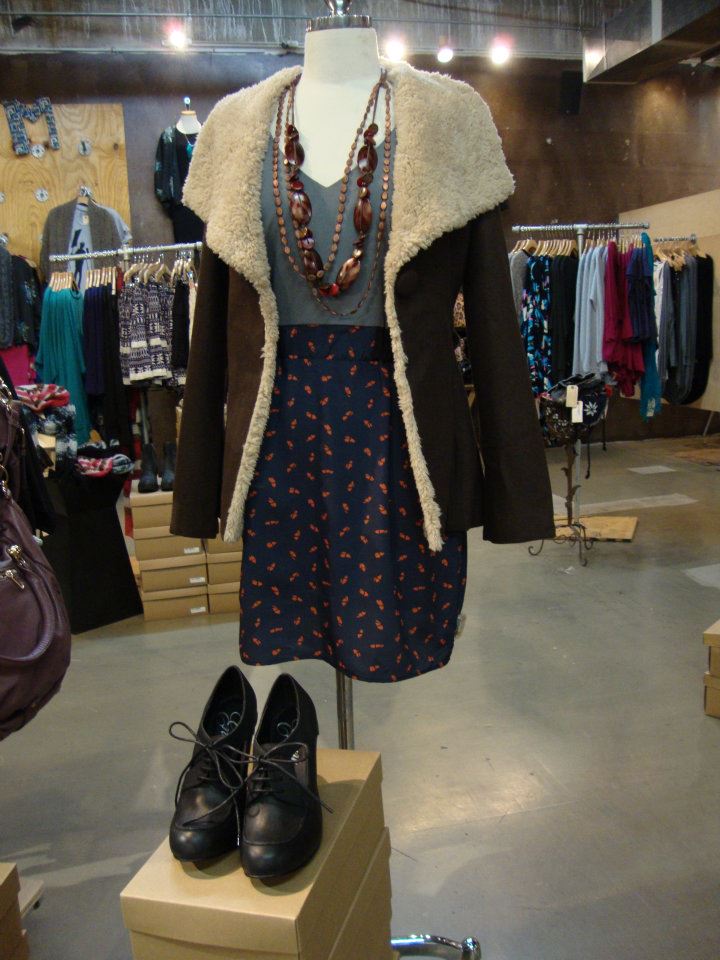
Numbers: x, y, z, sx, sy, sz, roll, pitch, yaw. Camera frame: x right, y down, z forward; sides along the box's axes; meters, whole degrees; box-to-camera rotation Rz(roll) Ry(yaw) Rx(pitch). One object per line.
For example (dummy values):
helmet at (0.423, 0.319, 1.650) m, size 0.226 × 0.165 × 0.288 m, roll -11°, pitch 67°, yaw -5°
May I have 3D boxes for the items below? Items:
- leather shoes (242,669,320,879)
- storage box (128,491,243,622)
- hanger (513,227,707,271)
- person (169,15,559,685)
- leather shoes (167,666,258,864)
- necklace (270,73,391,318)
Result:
leather shoes at (-0.084, 0.356, 0.903) m, size 0.078 × 0.078 × 0.203 m, roll -1°, pitch 35°, yaw 0°
storage box at (-0.706, 0.254, 3.404) m, size 0.691 × 0.677 × 0.504 m, roll -1°, pitch 4°, yaw -13°
hanger at (1.845, -1.661, 5.440) m, size 0.828 × 0.260 × 0.532 m, roll -17°, pitch 26°, yaw -28°
person at (0.014, -0.192, 1.055) m, size 0.460 × 0.918 × 0.255 m, roll -6°, pitch 9°, yaw -17°
leather shoes at (-0.184, 0.356, 0.972) m, size 0.100 × 0.100 × 0.256 m, roll 1°, pitch 38°, yaw 6°
necklace at (-0.034, -0.396, 1.012) m, size 0.160 × 0.308 × 0.145 m, roll -2°, pitch 8°, yaw 4°
